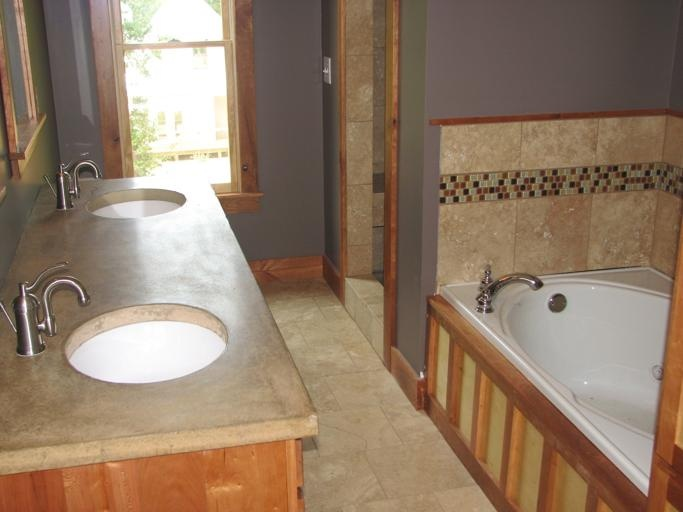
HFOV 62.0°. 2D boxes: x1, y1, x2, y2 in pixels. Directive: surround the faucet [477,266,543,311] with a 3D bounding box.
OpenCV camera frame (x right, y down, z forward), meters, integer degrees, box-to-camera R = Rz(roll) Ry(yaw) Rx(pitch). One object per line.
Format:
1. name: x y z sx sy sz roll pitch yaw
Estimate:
1. faucet: 0.783 0.174 2.644 0.137 0.224 0.345 -20 21 -40
